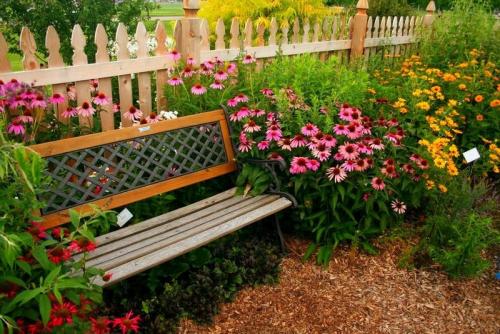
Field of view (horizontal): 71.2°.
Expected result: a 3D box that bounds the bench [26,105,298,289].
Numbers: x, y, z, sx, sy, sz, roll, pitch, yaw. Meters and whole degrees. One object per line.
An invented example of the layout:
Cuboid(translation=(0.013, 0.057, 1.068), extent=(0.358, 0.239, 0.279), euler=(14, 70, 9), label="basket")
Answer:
Cuboid(translation=(-0.747, 0.122, 3.117), extent=(2.075, 0.940, 0.953), euler=(-16, 30, -31), label="bench")
